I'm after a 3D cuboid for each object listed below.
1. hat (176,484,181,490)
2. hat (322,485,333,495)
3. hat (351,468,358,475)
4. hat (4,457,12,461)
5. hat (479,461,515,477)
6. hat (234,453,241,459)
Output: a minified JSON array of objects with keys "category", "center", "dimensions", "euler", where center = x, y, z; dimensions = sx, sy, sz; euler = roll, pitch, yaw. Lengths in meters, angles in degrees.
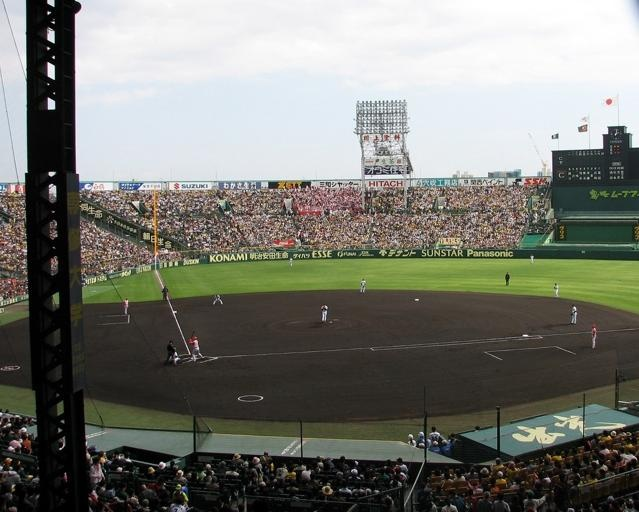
[{"category":"hat","center":[-4.938,8.141,44.002],"dimensions":[0.173,0.165,0.155],"euler":[-1,-3,0]},{"category":"hat","center":[0.303,8.282,44.209],"dimensions":[0.358,0.247,0.293],"euler":[-2,1,-2]},{"category":"hat","center":[1.293,7.987,46.128],"dimensions":[0.232,0.156,0.167],"euler":[15,50,19]},{"category":"hat","center":[-11.335,7.410,45.585],"dimensions":[0.155,0.158,0.205],"euler":[14,31,36]},{"category":"hat","center":[6.615,7.917,46.327],"dimensions":[0.434,0.316,1.175],"euler":[-9,-7,-19]},{"category":"hat","center":[-3.103,7.595,47.259],"dimensions":[0.225,0.054,0.203],"euler":[2,19,11]}]
